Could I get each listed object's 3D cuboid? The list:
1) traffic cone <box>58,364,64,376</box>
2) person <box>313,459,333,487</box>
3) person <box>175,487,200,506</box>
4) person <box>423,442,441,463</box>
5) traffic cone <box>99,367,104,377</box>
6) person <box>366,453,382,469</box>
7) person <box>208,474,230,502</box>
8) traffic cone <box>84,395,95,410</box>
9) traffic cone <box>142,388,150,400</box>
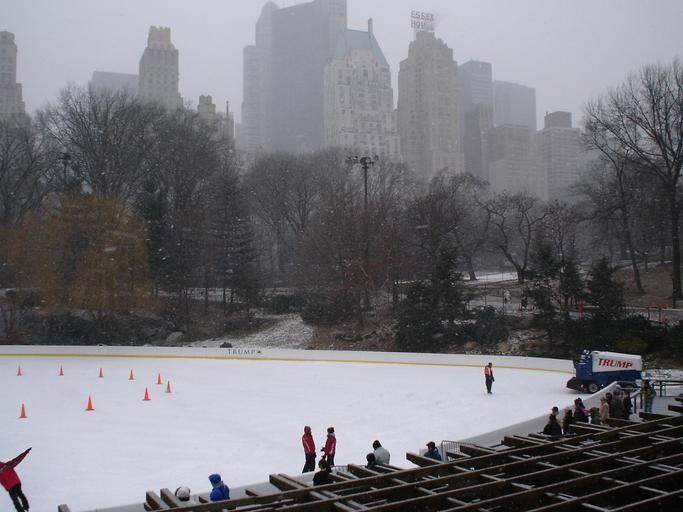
[{"bbox_3d":[-19.299,7.942,74.307,0.517,0.688,0.507,-2,-5,2],"label":"traffic cone"},{"bbox_3d":[-0.989,11.262,56.539,0.983,1.216,1.110,-3,-3,-11],"label":"person"},{"bbox_3d":[-8.000,12.452,56.361,0.977,1.288,1.268,5,19,-14],"label":"person"},{"bbox_3d":[5.011,10.581,58.895,0.906,1.048,3.506,-3,-3,4],"label":"person"},{"bbox_3d":[-16.558,8.033,74.199,0.516,0.680,0.518,-1,-2,5],"label":"traffic cone"},{"bbox_3d":[1.754,10.844,57.538,0.755,0.743,0.846,-5,-4,28],"label":"person"},{"bbox_3d":[-6.343,11.992,56.116,1.037,1.348,1.800,-3,-3,-7],"label":"person"},{"bbox_3d":[-15.627,9.215,67.295,0.720,0.937,0.729,-5,-7,28],"label":"traffic cone"},{"bbox_3d":[-12.411,8.784,68.757,0.554,0.761,0.579,3,10,8],"label":"traffic cone"}]
